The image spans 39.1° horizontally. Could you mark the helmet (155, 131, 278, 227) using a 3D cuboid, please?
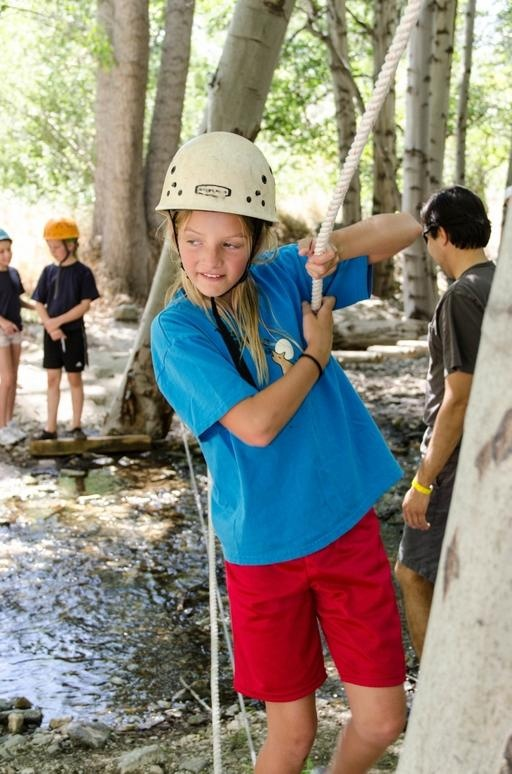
[{"bbox_3d":[-0.096,-0.536,1.829,0.241,0.222,0.289,9,23,3],"label":"helmet"}]

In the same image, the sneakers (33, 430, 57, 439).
[{"bbox_3d":[-1.888,0.425,6.420,0.192,0.073,0.085,2,0,13],"label":"sneakers"}]

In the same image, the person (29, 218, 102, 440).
[{"bbox_3d":[-1.700,-0.486,6.371,0.544,1.945,0.614,-1,15,-15],"label":"person"}]

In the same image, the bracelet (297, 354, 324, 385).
[{"bbox_3d":[0.139,-0.059,1.851,0.056,0.049,0.040,6,14,11],"label":"bracelet"}]

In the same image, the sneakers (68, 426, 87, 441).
[{"bbox_3d":[-1.630,0.422,6.501,0.111,0.084,0.287,-2,-5,-13],"label":"sneakers"}]

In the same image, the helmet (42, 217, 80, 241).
[{"bbox_3d":[-1.699,-1.356,6.232,0.255,0.127,0.243,2,17,19],"label":"helmet"}]
